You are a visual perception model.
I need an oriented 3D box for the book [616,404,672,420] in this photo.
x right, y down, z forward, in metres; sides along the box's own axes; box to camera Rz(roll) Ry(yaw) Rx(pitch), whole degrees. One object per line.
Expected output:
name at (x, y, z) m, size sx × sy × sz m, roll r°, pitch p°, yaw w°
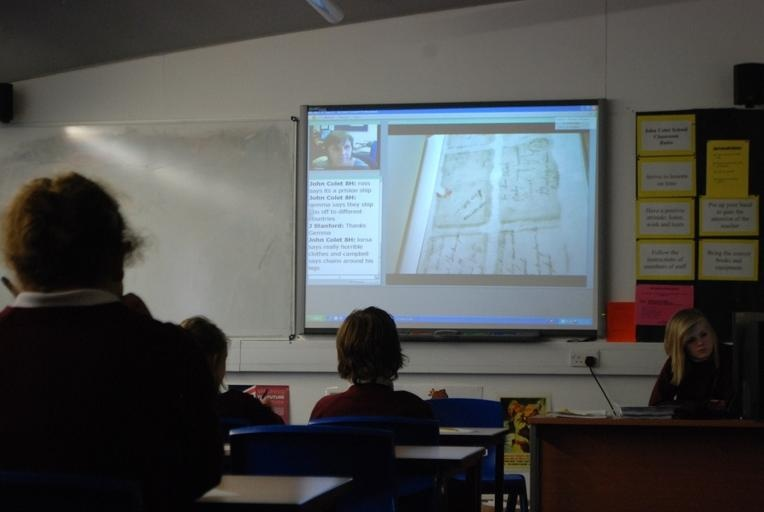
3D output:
book at (1.085, 0.643, 2.861) m, size 0.152 × 0.035 × 0.149 m, roll -1°, pitch -3°, yaw 8°

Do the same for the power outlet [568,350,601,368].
power outlet at (1.269, 0.646, 4.334) m, size 0.185 × 0.101 × 0.028 m, roll 2°, pitch 0°, yaw 12°
